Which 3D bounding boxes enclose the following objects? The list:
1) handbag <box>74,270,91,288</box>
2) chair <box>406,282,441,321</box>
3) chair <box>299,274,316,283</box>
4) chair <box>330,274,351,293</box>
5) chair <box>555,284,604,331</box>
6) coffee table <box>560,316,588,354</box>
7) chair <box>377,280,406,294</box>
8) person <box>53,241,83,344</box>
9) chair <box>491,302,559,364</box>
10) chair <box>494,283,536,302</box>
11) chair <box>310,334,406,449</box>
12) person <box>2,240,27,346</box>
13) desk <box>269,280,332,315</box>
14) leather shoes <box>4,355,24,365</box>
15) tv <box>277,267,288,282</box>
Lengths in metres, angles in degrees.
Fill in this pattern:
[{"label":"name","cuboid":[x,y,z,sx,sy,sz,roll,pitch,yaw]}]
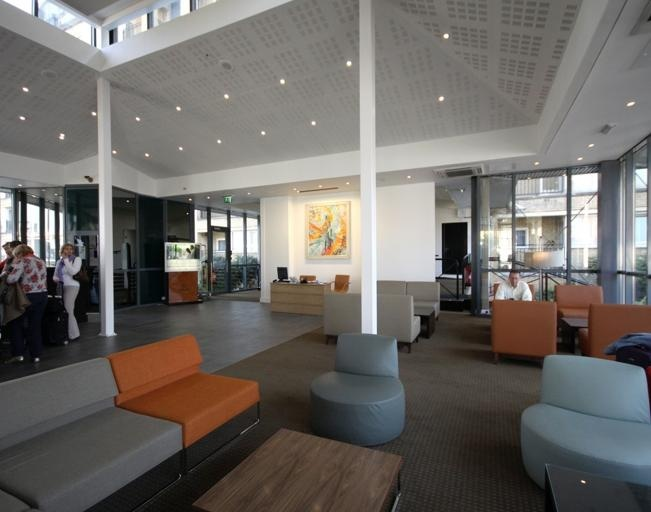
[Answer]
[{"label":"handbag","cuboid":[-4.659,0.441,8.214,0.155,0.433,0.394,5,-12,-28]},{"label":"chair","cuboid":[2.126,0.818,9.243,0.925,1.064,0.693,-1,-3,25]},{"label":"chair","cuboid":[-0.510,0.597,11.311,0.222,0.309,0.222,2,2,22]},{"label":"chair","cuboid":[0.401,0.681,11.063,0.352,0.521,0.407,0,-5,20]},{"label":"chair","cuboid":[4.375,0.768,7.410,0.886,0.990,0.697,1,-1,23]},{"label":"coffee table","cuboid":[3.801,1.091,6.606,0.386,0.389,0.761,3,8,29]},{"label":"chair","cuboid":[1.449,0.682,9.499,0.653,0.255,0.358,5,11,27]},{"label":"person","cuboid":[-4.505,0.626,7.530,0.454,1.632,0.375,8,12,42]},{"label":"chair","cuboid":[2.769,1.051,6.098,0.786,0.949,0.824,1,1,22]},{"label":"chair","cuboid":[3.117,0.583,7.077,0.703,0.276,0.471,-2,10,-6]},{"label":"chair","cuboid":[0.418,1.342,4.574,0.927,0.902,0.961,-2,-5,33]},{"label":"person","cuboid":[-4.686,0.600,6.462,0.321,1.546,1.233,-7,11,-35]},{"label":"desk","cuboid":[-0.703,1.021,10.640,1.475,0.713,0.534,4,10,22]},{"label":"leather shoes","cuboid":[-4.561,1.497,6.234,0.309,0.145,0.105,4,-2,-32]},{"label":"tv","cuboid":[-1.100,0.462,11.075,0.247,0.333,0.259,-3,10,-14]}]
